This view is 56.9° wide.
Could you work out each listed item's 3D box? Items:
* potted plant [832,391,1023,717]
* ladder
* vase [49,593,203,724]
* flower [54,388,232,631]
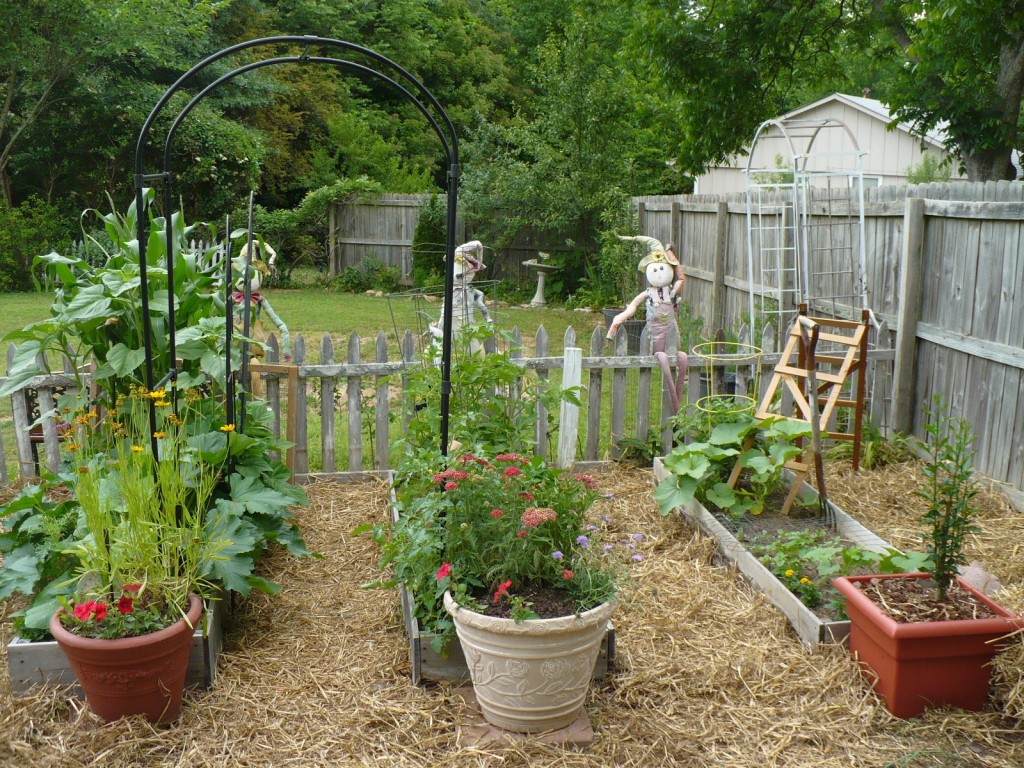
[{"bbox_3d":[2.090,0.880,4.748,0.794,1.405,0.550,-1,11,-3],"label":"potted plant"},{"bbox_3d":[2.114,0.244,6.923,0.565,1.523,1.660,7,35,23],"label":"ladder"},{"bbox_3d":[-1.818,1.372,4.482,0.528,0.464,0.561,-3,3,-14],"label":"vase"},{"bbox_3d":[-1.786,0.714,5.175,0.993,1.451,0.952,3,-4,-13],"label":"flower"}]
